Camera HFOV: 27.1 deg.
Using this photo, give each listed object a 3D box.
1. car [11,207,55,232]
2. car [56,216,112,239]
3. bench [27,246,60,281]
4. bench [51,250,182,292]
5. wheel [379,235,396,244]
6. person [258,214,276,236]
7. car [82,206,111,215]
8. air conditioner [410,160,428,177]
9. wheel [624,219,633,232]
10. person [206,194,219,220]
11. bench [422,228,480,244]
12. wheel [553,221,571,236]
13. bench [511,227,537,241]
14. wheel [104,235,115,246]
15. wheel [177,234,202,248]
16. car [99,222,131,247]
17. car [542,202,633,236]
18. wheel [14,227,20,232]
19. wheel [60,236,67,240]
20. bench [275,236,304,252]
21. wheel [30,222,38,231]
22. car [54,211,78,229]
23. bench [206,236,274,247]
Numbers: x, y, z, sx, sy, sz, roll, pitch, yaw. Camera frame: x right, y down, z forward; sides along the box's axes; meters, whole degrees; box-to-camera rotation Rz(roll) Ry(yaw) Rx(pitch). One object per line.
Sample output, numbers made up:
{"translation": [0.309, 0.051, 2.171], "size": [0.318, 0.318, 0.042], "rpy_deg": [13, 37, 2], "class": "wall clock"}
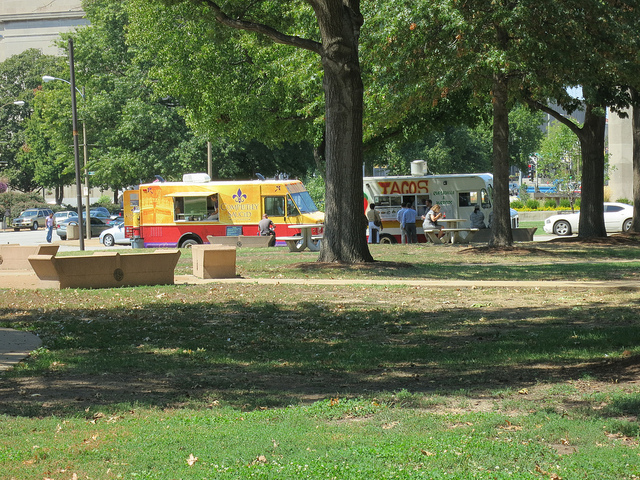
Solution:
{"translation": [-21.078, -1.525, 96.211], "size": [1.650, 1.539, 3.751], "rpy_deg": [-1, -1, 17], "class": "car"}
{"translation": [-13.959, -0.812, 79.362], "size": [1.878, 1.422, 4.267], "rpy_deg": [2, 8, 34], "class": "car"}
{"translation": [-10.137, 0.792, 48.464], "size": [0.992, 1.217, 5.424], "rpy_deg": [-3, 0, -11], "class": "bench"}
{"translation": [-7.204, 1.037, 46.383], "size": [4.047, 1.367, 0.815], "rpy_deg": [-3, 0, -22], "class": "bench"}
{"translation": [3.134, -0.073, 61.837], "size": [0.407, 0.414, 0.147], "rpy_deg": [1, 9, 4], "class": "wheel"}
{"translation": [-2.418, -0.686, 58.915], "size": [0.661, 0.906, 1.121], "rpy_deg": [-3, 0, -2], "class": "person"}
{"translation": [-16.162, -2.176, 96.498], "size": [1.302, 0.629, 8.752], "rpy_deg": [-3, 0, -9], "class": "car"}
{"translation": [4.690, -3.416, 62.335], "size": [0.731, 0.627, 0.655], "rpy_deg": [2, -3, -38], "class": "air conditioner"}
{"translation": [14.943, -0.724, 64.322], "size": [0.672, 0.683, 0.221], "rpy_deg": [1, -3, 5], "class": "wheel"}
{"translation": [-4.941, -1.536, 60.706], "size": [0.506, 1.113, 0.156], "rpy_deg": [-3, 1, 28], "class": "person"}
{"translation": [5.742, -0.240, 58.132], "size": [1.772, 0.631, 1.994], "rpy_deg": [-3, 0, 34], "class": "bench"}
{"translation": [12.202, -0.653, 66.816], "size": [0.631, 0.643, 0.230], "rpy_deg": [-13, -11, 17], "class": "wheel"}
{"translation": [9.047, -0.283, 59.315], "size": [0.989, 0.394, 0.701], "rpy_deg": [0, -5, 10], "class": "bench"}
{"translation": [-10.892, -0.018, 68.248], "size": [0.548, 0.559, 0.211], "rpy_deg": [0, -2, 13], "class": "wheel"}
{"translation": [-5.935, -0.027, 60.064], "size": [0.617, 0.628, 0.221], "rpy_deg": [0, 1, 8], "class": "wheel"}
{"translation": [-10.721, -0.343, 68.287], "size": [1.961, 0.982, 1.161], "rpy_deg": [4, 3, 17], "class": "car"}
{"translation": [13.569, -1.103, 66.727], "size": [4.002, 1.243, 1.739], "rpy_deg": [0, -1, 15], "class": "car"}
{"translation": [-21.833, -0.798, 95.116], "size": [0.304, 0.227, 0.299], "rpy_deg": [1, 0, 0], "class": "wheel"}
{"translation": [-15.242, -0.175, 78.510], "size": [0.261, 0.197, 2.366], "rpy_deg": [-3, 0, -14], "class": "wheel"}
{"translation": [-1.382, 0.159, 57.747], "size": [1.137, 0.632, 4.369], "rpy_deg": [-3, 0, -2], "class": "bench"}
{"translation": [-20.665, -1.046, 95.167], "size": [0.198, 0.574, 0.574], "rpy_deg": [0, 13, 19], "class": "wheel"}
{"translation": [-17.520, -1.638, 90.031], "size": [1.515, 1.149, 2.352], "rpy_deg": [0, -3, 3], "class": "car"}
{"translation": [-3.555, 0.038, 59.089], "size": [3.147, 0.492, 0.837], "rpy_deg": [-3, 0, 38], "class": "bench"}
